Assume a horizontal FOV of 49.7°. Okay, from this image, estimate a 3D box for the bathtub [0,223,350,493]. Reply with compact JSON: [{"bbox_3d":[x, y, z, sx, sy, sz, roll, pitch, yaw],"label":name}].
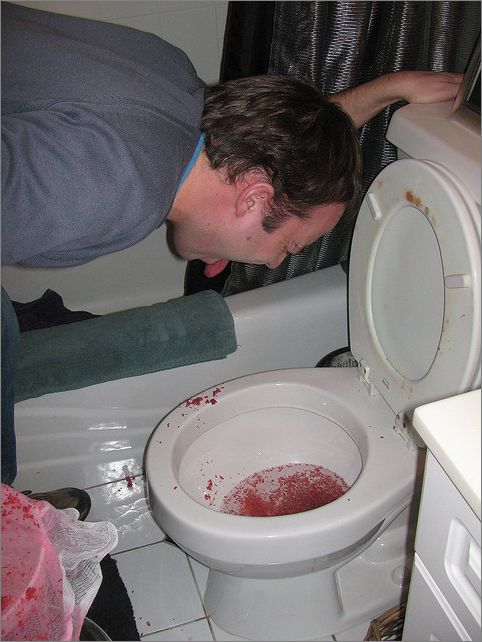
[{"bbox_3d":[-0.146,0.145,1.401,0.996,0.436,0.555,-15,45,-5],"label":"bathtub"}]
